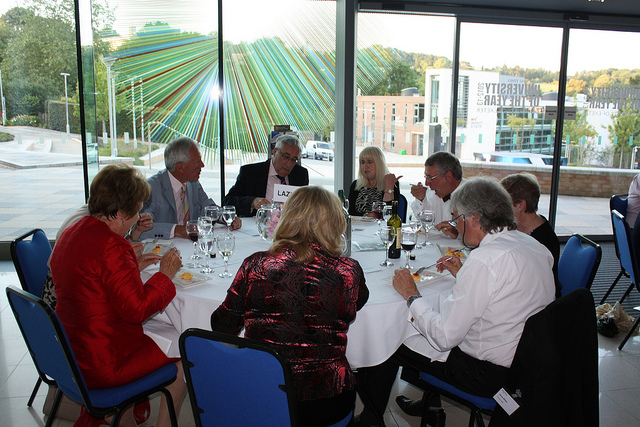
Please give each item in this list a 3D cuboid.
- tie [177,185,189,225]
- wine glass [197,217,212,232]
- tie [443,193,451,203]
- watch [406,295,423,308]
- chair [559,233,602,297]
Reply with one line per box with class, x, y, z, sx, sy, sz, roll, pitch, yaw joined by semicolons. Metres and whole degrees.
tie;-1.153;-0.079;3.382;0.061;0.257;0.187;10;-14;-14
wine glass;-0.772;0.067;2.640;0.100;0.104;0.099;0;5;-10
tie;1.161;-0.155;3.614;0.057;0.071;0.076;-1;-3;-2
watch;0.505;0.454;2.121;0.055;0.063;0.061;17;24;23
chair;1.742;0.348;2.668;0.220;0.384;0.406;5;9;30
